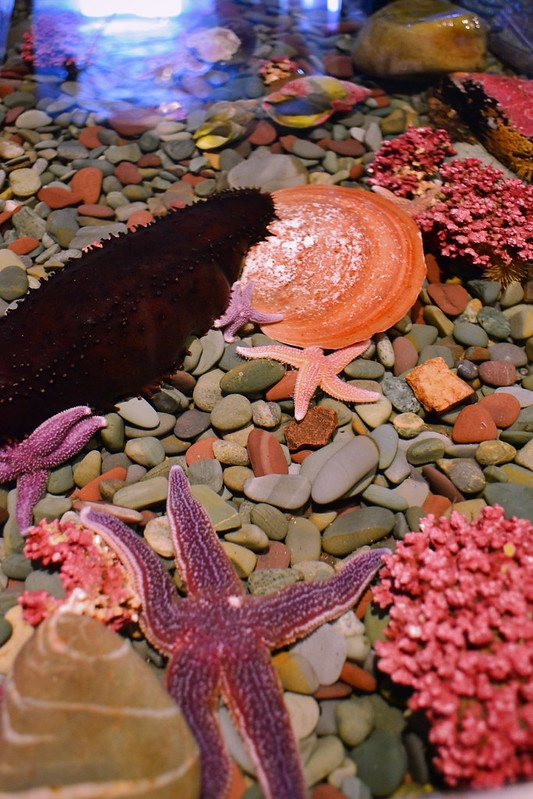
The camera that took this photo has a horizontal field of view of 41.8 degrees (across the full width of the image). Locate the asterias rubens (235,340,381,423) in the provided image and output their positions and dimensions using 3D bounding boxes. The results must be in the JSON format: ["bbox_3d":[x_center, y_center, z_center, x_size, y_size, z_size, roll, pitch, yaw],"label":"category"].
[{"bbox_3d":[0.221,-0.112,2.916,0.432,0.044,0.400,-12,40,-31],"label":"asterias rubens"}]

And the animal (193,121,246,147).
[{"bbox_3d":[-0.270,-1.500,3.960,0.275,0.109,0.211,7,41,0],"label":"animal"}]

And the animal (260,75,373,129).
[{"bbox_3d":[0.280,-1.786,4.159,0.411,0.172,0.641,31,47,26],"label":"animal"}]
